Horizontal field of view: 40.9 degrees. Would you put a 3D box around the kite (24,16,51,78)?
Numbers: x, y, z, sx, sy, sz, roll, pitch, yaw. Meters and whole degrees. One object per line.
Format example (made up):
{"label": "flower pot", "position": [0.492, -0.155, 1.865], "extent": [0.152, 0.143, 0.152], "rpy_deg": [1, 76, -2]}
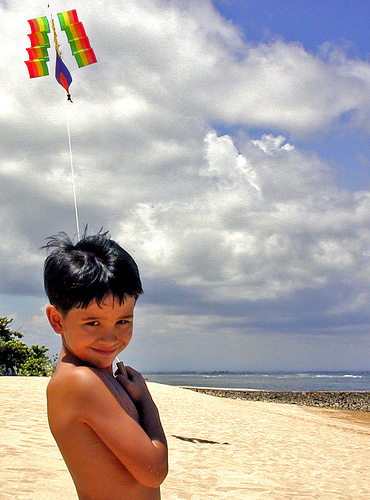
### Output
{"label": "kite", "position": [-2.558, -3.469, 8.616], "extent": [0.375, 1.083, 0.486], "rpy_deg": [3, -7, -17]}

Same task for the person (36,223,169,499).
{"label": "person", "position": [-0.312, 0.512, 2.181], "extent": [0.559, 1.214, 0.507], "rpy_deg": [5, -8, -28]}

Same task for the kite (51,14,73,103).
{"label": "kite", "position": [-1.964, -3.064, 7.864], "extent": [0.337, 1.587, 1.022], "rpy_deg": [3, -7, -15]}
